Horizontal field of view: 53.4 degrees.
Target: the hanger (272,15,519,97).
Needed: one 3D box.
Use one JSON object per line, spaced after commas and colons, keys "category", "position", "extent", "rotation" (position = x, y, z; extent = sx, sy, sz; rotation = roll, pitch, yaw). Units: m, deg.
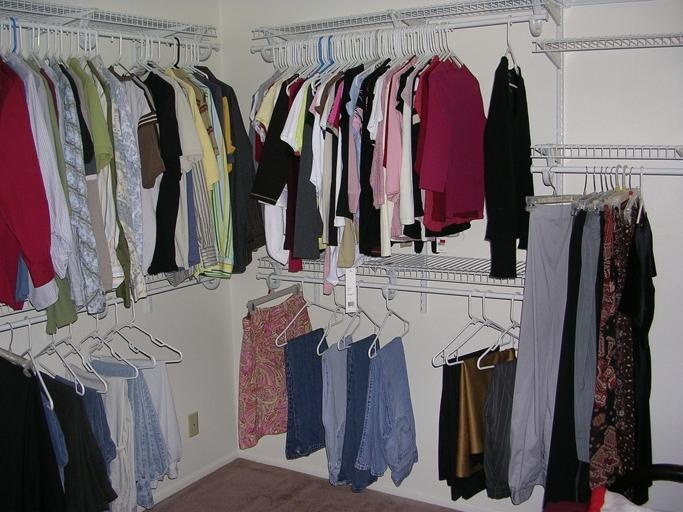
{"category": "hanger", "position": [0.253, -1.003, 3.367], "extent": [1.205, 0.506, 0.421], "rotation": [4, 19, 24]}
